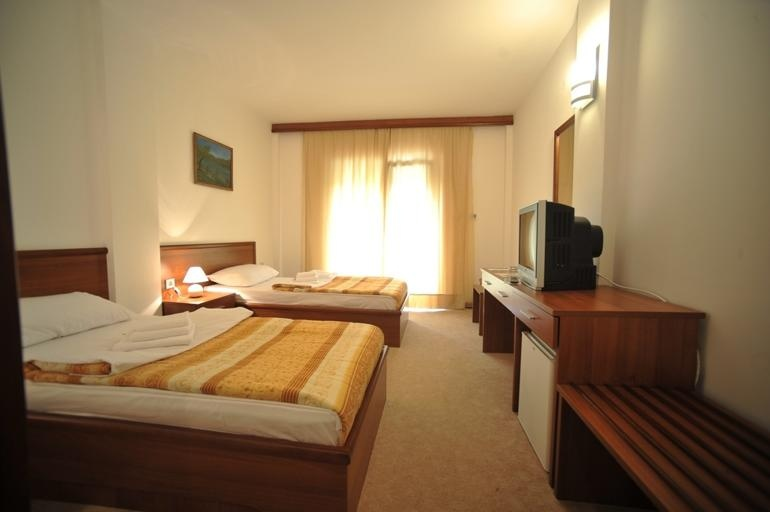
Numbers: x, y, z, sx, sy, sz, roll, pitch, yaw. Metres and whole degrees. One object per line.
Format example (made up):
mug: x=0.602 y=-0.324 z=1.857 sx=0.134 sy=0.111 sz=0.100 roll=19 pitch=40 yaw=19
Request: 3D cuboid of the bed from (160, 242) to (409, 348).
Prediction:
bed: x=-1.097 y=0.417 z=5.354 sx=1.462 sy=0.673 sz=1.435 roll=0 pitch=3 yaw=8

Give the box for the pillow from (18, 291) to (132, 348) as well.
pillow: x=-2.269 y=0.432 z=3.846 sx=0.702 sy=0.188 sz=0.758 roll=4 pitch=4 yaw=-35

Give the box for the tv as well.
tv: x=1.373 y=-0.105 z=4.008 sx=0.602 sy=0.664 sz=0.649 roll=-1 pitch=2 yaw=-2

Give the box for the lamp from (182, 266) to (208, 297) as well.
lamp: x=-1.898 y=0.237 z=5.165 sx=0.268 sy=0.319 sz=0.272 roll=-2 pitch=6 yaw=-22
